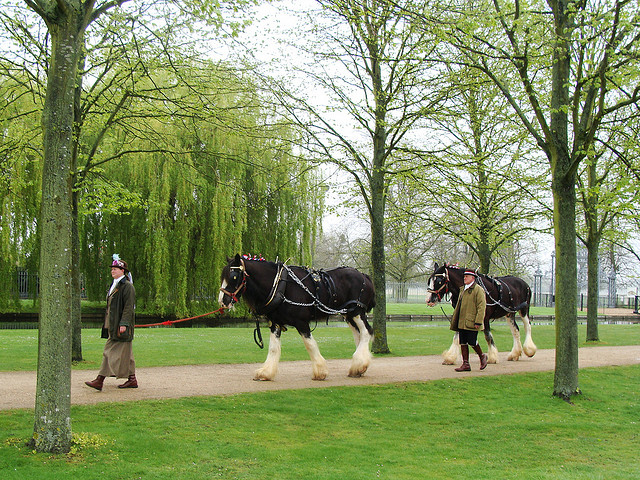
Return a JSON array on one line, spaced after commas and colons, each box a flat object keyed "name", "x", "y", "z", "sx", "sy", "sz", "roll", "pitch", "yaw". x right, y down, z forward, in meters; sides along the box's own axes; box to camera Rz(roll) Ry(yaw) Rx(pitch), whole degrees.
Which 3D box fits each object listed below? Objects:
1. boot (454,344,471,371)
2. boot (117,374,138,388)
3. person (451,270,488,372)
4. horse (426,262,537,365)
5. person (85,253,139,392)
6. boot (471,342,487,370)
[{"name": "boot", "x": 3.945, "y": 3.207, "z": 21.543, "sx": 0.418, "sy": 0.730, "sz": 0.811, "roll": 4, "pitch": 7, "yaw": 12}, {"name": "boot", "x": -4.382, "y": 3.255, "z": 18.051, "sx": 0.503, "sy": 0.362, "sz": 0.200, "roll": 3, "pitch": -4, "yaw": -6}, {"name": "person", "x": 4.120, "y": 2.222, "z": 21.555, "sx": 0.945, "sy": 2.724, "sz": 1.283, "roll": 4, "pitch": 7, "yaw": 10}, {"name": "horse", "x": 4.990, "y": 2.262, "z": 23.489, "sx": 4.407, "sy": 2.891, "sz": 1.132, "roll": 5, "pitch": -9, "yaw": -33}, {"name": "person", "x": -4.710, "y": 1.875, "z": 18.033, "sx": 1.119, "sy": 3.047, "sz": 0.859, "roll": 0, "pitch": 7, "yaw": -23}, {"name": "boot", "x": 4.430, "y": 3.196, "z": 21.720, "sx": 0.356, "sy": 0.690, "sz": 0.492, "roll": 4, "pitch": 7, "yaw": 10}]
